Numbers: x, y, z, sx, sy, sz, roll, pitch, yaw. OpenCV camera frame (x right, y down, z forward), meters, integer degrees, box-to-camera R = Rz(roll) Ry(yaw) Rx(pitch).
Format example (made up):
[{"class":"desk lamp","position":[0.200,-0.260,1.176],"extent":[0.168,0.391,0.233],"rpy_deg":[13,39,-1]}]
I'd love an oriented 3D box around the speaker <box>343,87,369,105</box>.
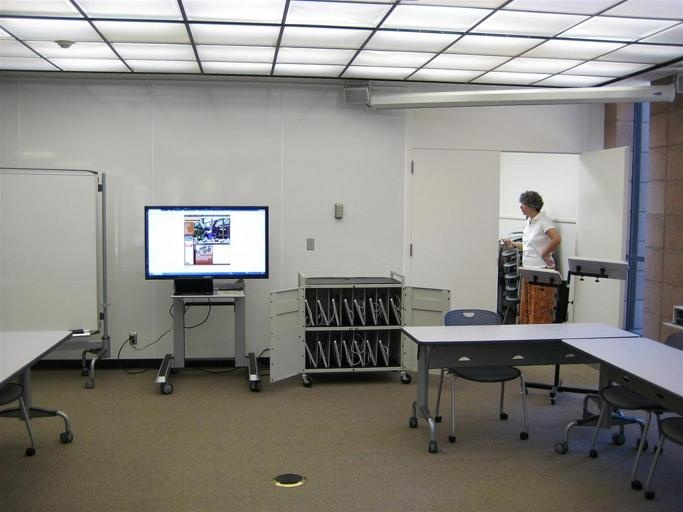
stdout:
[{"class":"speaker","position":[0.188,-1.955,6.857],"extent":[0.346,0.261,0.210],"rpy_deg":[1,3,7]}]

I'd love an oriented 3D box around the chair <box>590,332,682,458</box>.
[{"class":"chair","position":[2.510,1.175,4.857],"extent":[1.015,0.986,0.597],"rpy_deg":[-8,12,-43]}]

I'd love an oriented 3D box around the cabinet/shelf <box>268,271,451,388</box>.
[{"class":"cabinet/shelf","position":[0.073,1.155,6.693],"extent":[2.015,1.392,1.191],"rpy_deg":[-1,2,-6]}]

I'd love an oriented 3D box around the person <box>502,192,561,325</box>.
[{"class":"person","position":[2.349,0.090,6.742],"extent":[0.475,1.670,1.885],"rpy_deg":[3,10,18]}]
